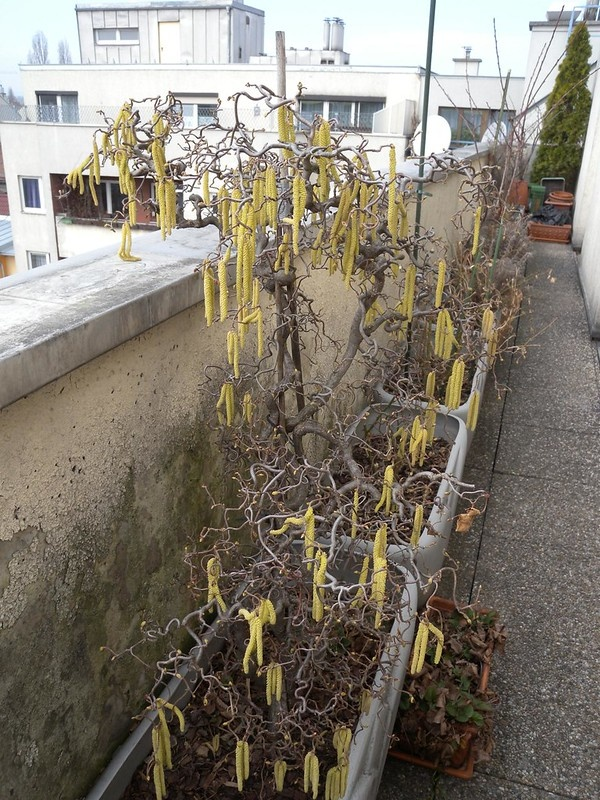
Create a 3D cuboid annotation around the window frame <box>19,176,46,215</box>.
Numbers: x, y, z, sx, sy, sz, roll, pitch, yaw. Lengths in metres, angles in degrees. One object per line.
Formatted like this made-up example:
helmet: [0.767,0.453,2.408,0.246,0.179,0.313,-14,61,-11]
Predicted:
window frame: [-9.248,-7.149,18.182,1.169,1.491,0.162,8,20,13]
